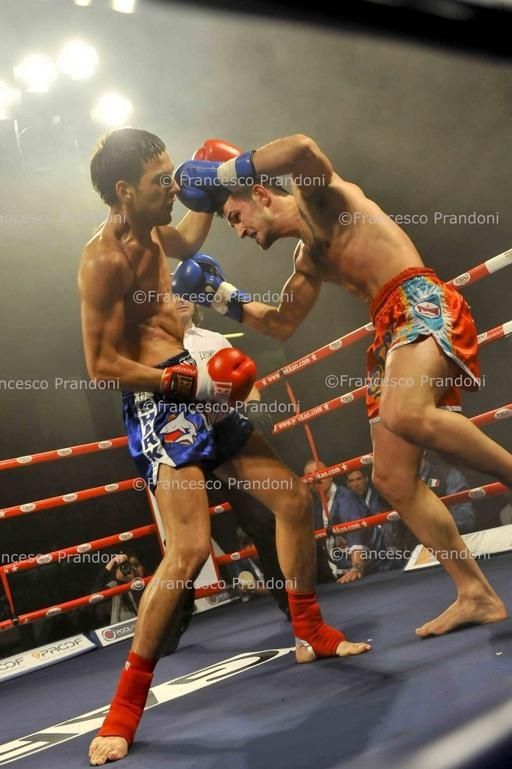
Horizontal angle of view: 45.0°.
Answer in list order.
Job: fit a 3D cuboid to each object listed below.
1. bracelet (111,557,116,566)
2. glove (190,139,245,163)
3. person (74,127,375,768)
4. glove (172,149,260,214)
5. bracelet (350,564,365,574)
[{"bbox_3d":[-0.523,0.646,2.271,0.022,0.019,0.006,1,-12,25],"label":"bracelet"},{"bbox_3d":[-0.145,-0.841,2.236,0.133,0.093,0.046,10,-8,-6],"label":"glove"},{"bbox_3d":[-0.308,0.041,1.946,0.808,1.442,0.557,-13,6,-27],"label":"person"},{"bbox_3d":[-0.126,-0.730,2.270,0.278,0.123,0.204,-25,47,-2],"label":"glove"},{"bbox_3d":[0.379,0.708,2.375,0.049,0.029,0.043,3,-22,11],"label":"bracelet"}]
